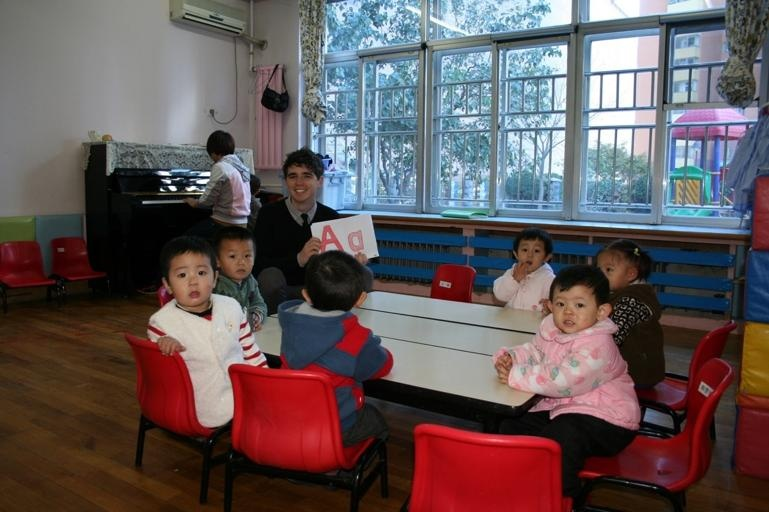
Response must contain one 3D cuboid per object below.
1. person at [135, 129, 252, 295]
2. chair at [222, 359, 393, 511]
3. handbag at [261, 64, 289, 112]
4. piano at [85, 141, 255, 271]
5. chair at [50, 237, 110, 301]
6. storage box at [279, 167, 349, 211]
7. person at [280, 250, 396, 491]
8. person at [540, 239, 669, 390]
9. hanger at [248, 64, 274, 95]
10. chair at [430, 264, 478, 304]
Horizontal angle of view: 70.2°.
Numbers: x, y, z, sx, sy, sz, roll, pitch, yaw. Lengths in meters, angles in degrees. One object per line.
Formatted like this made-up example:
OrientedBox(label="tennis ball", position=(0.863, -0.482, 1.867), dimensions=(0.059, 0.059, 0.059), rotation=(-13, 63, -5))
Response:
OrientedBox(label="person", position=(-1.856, -0.521, 6.032), dimensions=(0.814, 1.639, 0.632), rotation=(17, 14, 42))
OrientedBox(label="chair", position=(-0.388, 0.759, 2.811), dimensions=(0.781, 0.880, 0.695), rotation=(2, 13, 11))
OrientedBox(label="handbag", position=(-1.449, -2.221, 7.231), dimensions=(0.347, 0.612, 0.246), rotation=(3, 12, 13))
OrientedBox(label="piano", position=(-2.286, -0.504, 5.580), dimensions=(0.724, 1.279, 1.364), rotation=(4, 9, 41))
OrientedBox(label="chair", position=(-3.344, 0.124, 5.935), dimensions=(0.472, 0.627, 0.541), rotation=(-6, 4, -43))
OrientedBox(label="storage box", position=(-0.580, -0.530, 3.992), dimensions=(0.289, 0.420, 0.272), rotation=(-3, 6, -19))
OrientedBox(label="person", position=(-0.299, 0.567, 2.813), dimensions=(0.594, 1.160, 0.623), rotation=(19, 22, 35))
OrientedBox(label="person", position=(1.284, 0.304, 3.529), dimensions=(0.691, 1.161, 0.768), rotation=(1, 1, 9))
OrientedBox(label="hanger", position=(-1.681, -2.426, 7.453), dimensions=(0.456, 0.453, 0.070), rotation=(18, 23, 38))
OrientedBox(label="chair", position=(0.511, 0.182, 4.059), dimensions=(0.269, 0.414, 0.297), rotation=(5, 1, 23))
